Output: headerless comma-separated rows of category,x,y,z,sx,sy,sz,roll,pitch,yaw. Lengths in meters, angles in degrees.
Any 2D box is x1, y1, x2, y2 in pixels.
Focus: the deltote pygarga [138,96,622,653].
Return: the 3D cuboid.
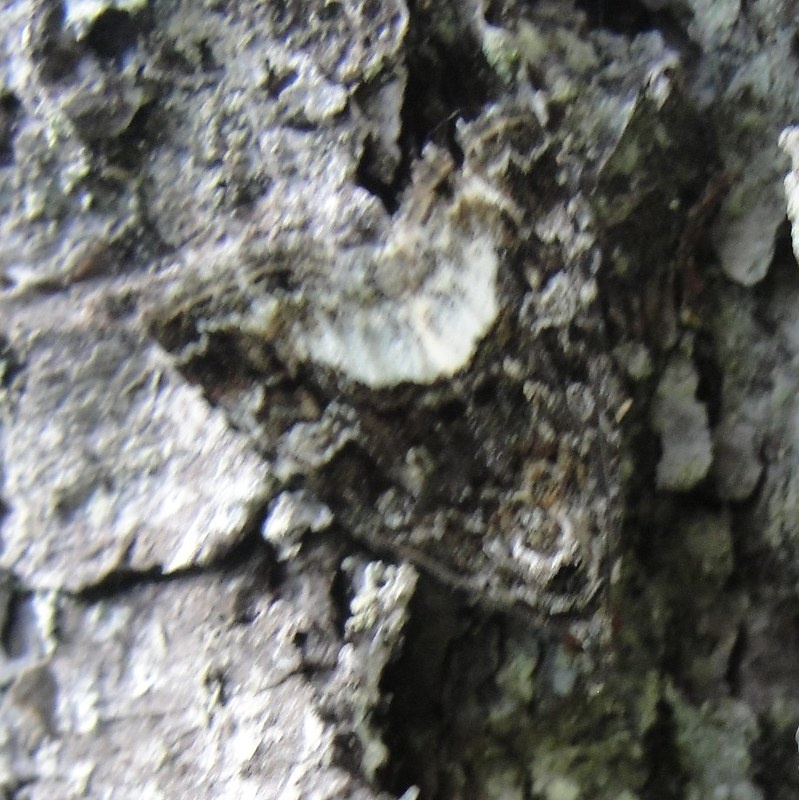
deltote pygarga,0.045,0.014,1.107,0.438,0.144,0.546,-29,96,-8
